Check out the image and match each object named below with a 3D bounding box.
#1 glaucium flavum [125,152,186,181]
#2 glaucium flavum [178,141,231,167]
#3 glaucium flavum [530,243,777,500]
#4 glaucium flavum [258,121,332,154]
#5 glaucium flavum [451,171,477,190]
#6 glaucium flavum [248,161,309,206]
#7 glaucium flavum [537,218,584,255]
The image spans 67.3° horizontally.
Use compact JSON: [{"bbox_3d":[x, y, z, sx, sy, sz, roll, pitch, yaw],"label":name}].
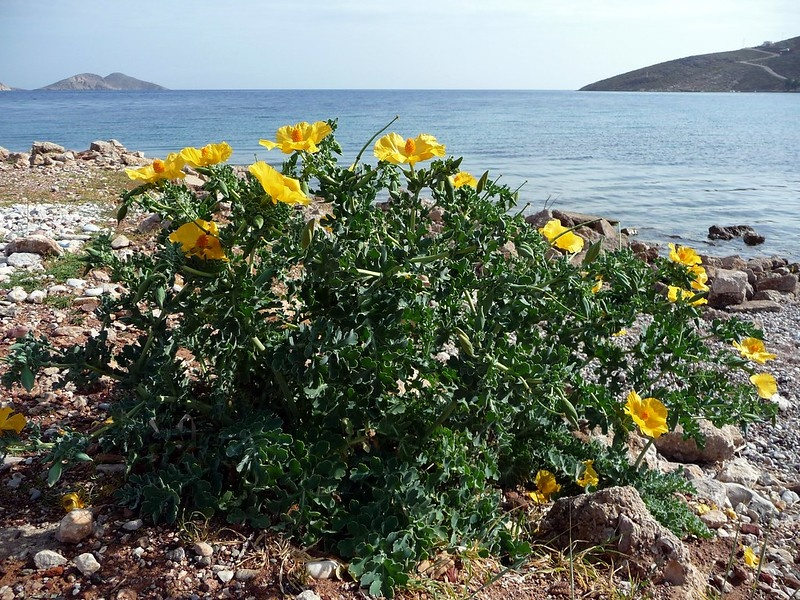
[{"bbox_3d":[-0.969,-0.511,2.397,0.172,0.081,0.165,1,23,16],"label":"glaucium flavum"},{"bbox_3d":[-0.805,-0.604,2.497,0.199,0.116,0.233,-6,27,-18],"label":"glaucium flavum"},{"bbox_3d":[1.387,0.458,3.313,1.057,0.864,1.177,37,55,4],"label":"glaucium flavum"},{"bbox_3d":[-0.445,-0.691,2.646,0.289,0.182,0.366,-1,26,-8],"label":"glaucium flavum"},{"bbox_3d":[0.320,-0.602,3.001,0.118,0.088,0.282,5,26,4],"label":"glaucium flavum"},{"bbox_3d":[-0.457,-0.432,2.318,0.182,0.094,0.184,40,8,-3],"label":"glaucium flavum"},{"bbox_3d":[0.801,-0.322,3.014,0.243,0.092,0.233,-3,45,-14],"label":"glaucium flavum"}]
